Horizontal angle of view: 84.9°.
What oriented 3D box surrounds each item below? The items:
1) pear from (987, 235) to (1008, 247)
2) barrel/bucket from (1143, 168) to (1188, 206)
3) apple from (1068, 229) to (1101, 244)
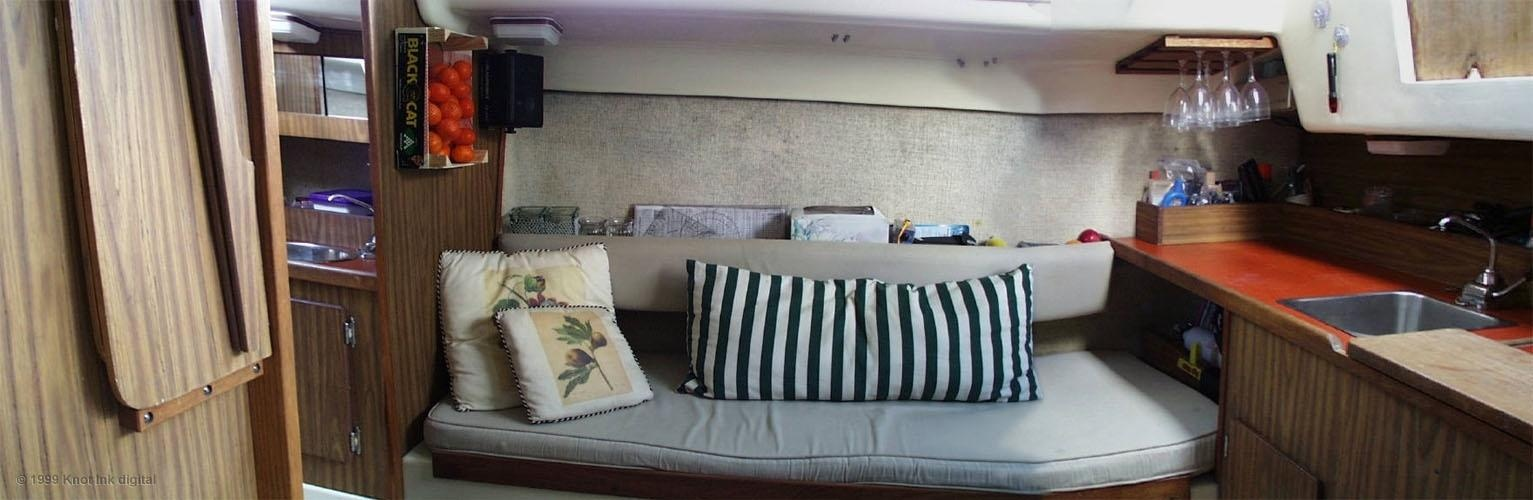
[{"bbox_3d":[1.738,-0.076,6.280,0.132,0.052,0.103,-11,18,-39],"label":"pear"},{"bbox_3d":[2.955,-0.473,6.179,0.273,0.266,0.264,-1,7,0],"label":"barrel/bucket"},{"bbox_3d":[2.401,-0.104,6.275,0.185,0.085,0.182,3,-10,-3],"label":"apple"}]
